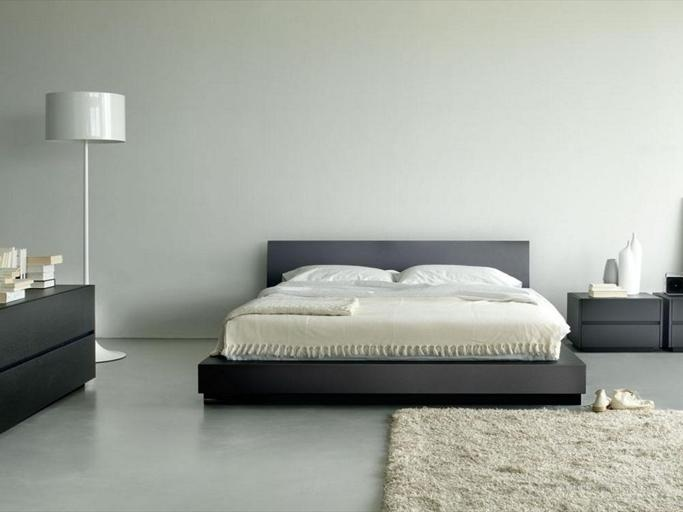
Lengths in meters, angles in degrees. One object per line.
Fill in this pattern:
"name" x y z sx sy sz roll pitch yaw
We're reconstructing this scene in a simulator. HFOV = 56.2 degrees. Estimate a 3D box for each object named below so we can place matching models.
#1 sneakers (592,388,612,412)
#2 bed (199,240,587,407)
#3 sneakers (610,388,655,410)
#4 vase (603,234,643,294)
"sneakers" 1.650 0.893 4.029 0.073 0.089 0.211 -1 2 21
"bed" 0.397 0.409 5.011 2.489 0.822 2.081 0 10 5
"sneakers" 1.853 0.905 4.073 0.213 0.082 0.138 2 -8 1
"vase" 2.529 0.070 5.667 0.311 0.502 0.290 -5 11 -20
